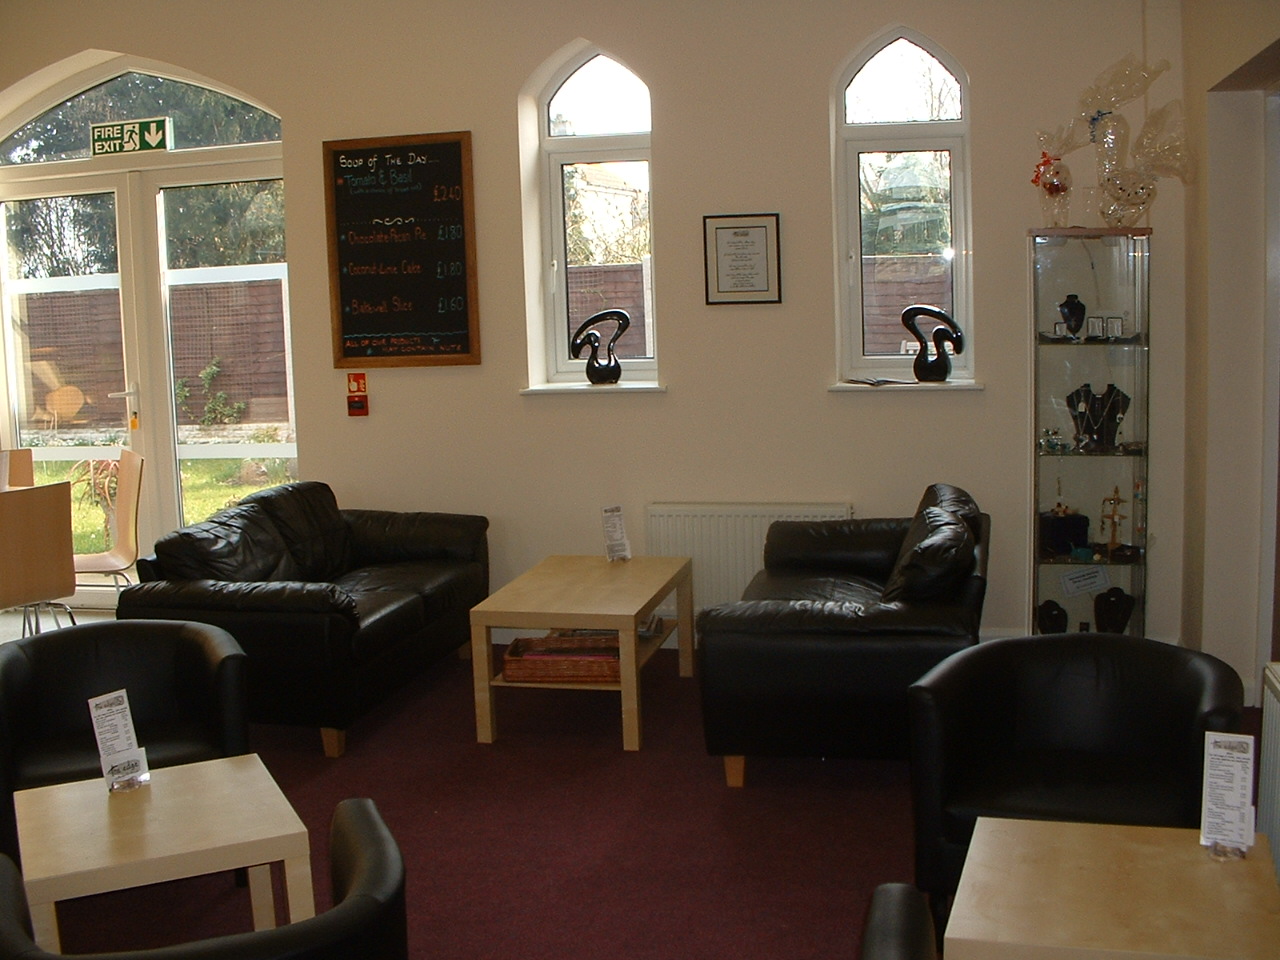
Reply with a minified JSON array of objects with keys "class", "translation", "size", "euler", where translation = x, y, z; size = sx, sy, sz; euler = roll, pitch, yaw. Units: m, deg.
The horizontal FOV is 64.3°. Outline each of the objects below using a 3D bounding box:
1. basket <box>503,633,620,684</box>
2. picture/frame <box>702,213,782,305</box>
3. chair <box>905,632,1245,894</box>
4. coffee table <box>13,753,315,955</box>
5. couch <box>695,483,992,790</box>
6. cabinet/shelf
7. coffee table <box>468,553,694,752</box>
[{"class":"basket","translation":[-0.345,0.785,4.490],"size":[0.372,0.091,0.250],"euler":[1,9,4]},{"class":"picture/frame","translation":[0.557,-1.210,5.438],"size":[0.460,0.524,0.024],"euler":[1,8,10]},{"class":"chair","translation":[1.253,0.856,2.891],"size":[0.811,0.742,0.670],"euler":[-1,1,33]},{"class":"coffee table","translation":[-1.347,0.849,2.791],"size":[0.609,0.416,0.645],"euler":[-8,6,-26]},{"class":"couch","translation":[0.969,0.560,4.592],"size":[1.128,0.997,1.961],"euler":[0,8,19]},{"class":"cabinet/shelf","translation":[2.159,-0.186,4.939],"size":[0.495,2.243,0.444],"euler":[0,22,22]},{"class":"coffee table","translation":[-0.235,0.792,4.985],"size":[0.877,0.621,1.322],"euler":[-1,6,8]}]
